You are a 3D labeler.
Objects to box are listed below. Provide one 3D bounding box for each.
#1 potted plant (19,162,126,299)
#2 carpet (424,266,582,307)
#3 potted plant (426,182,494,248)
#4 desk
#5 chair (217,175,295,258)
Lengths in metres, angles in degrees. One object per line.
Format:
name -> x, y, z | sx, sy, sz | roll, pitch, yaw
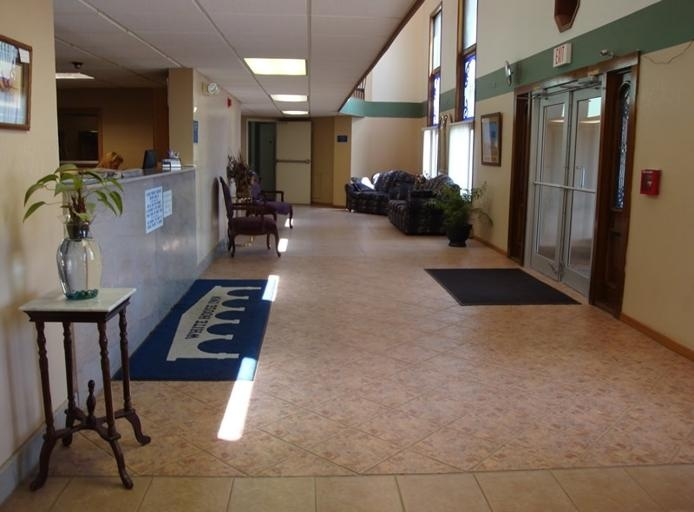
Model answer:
potted plant -> -1.450, -0.102, 2.546 | 0.494, 0.676, 0.544 | -3, 0, 7
carpet -> 1.943, 0.375, 6.171 | 1.475, 0.033, 1.735 | -1, 13, -4
potted plant -> 2.047, -0.746, 9.093 | 1.194, 1.277, 1.083 | -1, 1, -13
desk -> -1.466, 0.695, 2.641 | 0.586, 1.029, 0.829 | -6, 14, -25
chair -> -1.598, -0.761, 8.537 | 1.343, 1.903, 1.236 | -1, 10, -8
